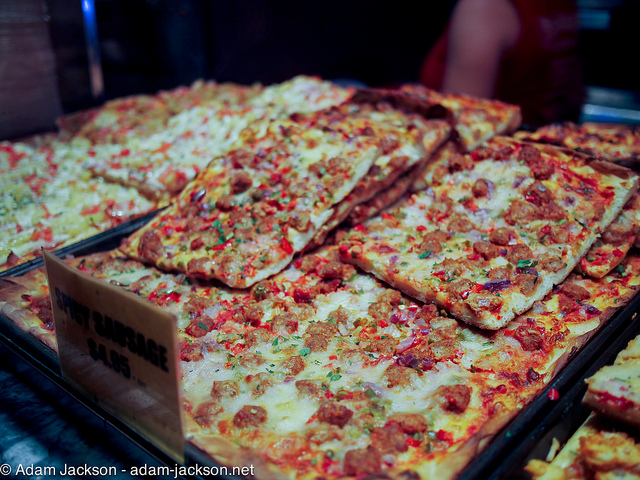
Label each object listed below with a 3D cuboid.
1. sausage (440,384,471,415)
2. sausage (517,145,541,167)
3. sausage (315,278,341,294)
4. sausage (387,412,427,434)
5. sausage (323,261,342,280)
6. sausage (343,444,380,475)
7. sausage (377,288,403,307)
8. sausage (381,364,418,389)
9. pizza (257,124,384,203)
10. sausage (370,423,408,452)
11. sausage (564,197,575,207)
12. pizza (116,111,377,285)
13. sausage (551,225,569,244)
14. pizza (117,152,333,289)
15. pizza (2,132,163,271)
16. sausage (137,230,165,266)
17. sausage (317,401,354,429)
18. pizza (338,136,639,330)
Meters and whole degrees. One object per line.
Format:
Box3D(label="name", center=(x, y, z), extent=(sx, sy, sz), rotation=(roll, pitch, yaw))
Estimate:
Box3D(label="sausage", center=(0.483, 0.576, 1.926), extent=(0.131, 0.050, 0.172), rotation=(-17, -1, 17))
Box3D(label="sausage", center=(1.126, -0.447, 2.775), extent=(0.108, 0.036, 0.106), rotation=(-17, 64, -2))
Box3D(label="sausage", center=(0.046, 0.209, 2.464), extent=(0.079, 0.026, 0.080), rotation=(-14, 28, 12))
Box3D(label="sausage", center=(0.309, 0.629, 1.826), extent=(0.075, 0.024, 0.075), rotation=(5, 15, 15))
Box3D(label="sausage", center=(0.060, 0.143, 2.476), extent=(0.075, 0.032, 0.080), rotation=(23, 73, 17))
Box3D(label="sausage", center=(0.144, 0.706, 1.707), extent=(0.064, 0.029, 0.083), rotation=(6, 21, 15))
Box3D(label="sausage", center=(0.325, 0.257, 2.377), extent=(0.083, 0.024, 0.081), rotation=(1, 36, -7))
Box3D(label="sausage", center=(0.306, 0.519, 1.996), extent=(0.084, 0.025, 0.083), rotation=(15, 37, 17))
Box3D(label="pizza", center=(-0.087, -0.350, 3.006), extent=(0.693, 0.752, 0.115), rotation=(-5, 78, -15))
Box3D(label="sausage", center=(0.239, 0.664, 1.783), extent=(0.128, 0.017, 0.097), rotation=(9, 34, 3))
Box3D(label="sausage", center=(1.249, -0.191, 2.593), extent=(0.044, 0.011, 0.043), rotation=(-6, 67, 5))
Box3D(label="pizza", center=(-0.312, -0.204, 2.754), extent=(1.104, 0.142, 0.911), rotation=(-46, 38, -18))
Box3D(label="sausage", center=(1.153, -0.028, 2.482), extent=(0.064, 0.023, 0.082), rotation=(-2, 54, 1))
Box3D(label="pizza", center=(-0.430, -0.088, 2.679), extent=(0.845, 0.129, 0.827), rotation=(19, 53, 38))
Box3D(label="pizza", center=(-1.508, -0.259, 3.292), extent=(0.936, 0.079, 0.991), rotation=(-22, 36, -35))
Box3D(label="sausage", center=(-0.867, 0.027, 2.676), extent=(0.133, 0.046, 0.171), rotation=(0, 65, 4))
Box3D(label="sausage", center=(0.055, 0.605, 1.831), extent=(0.096, 0.035, 0.072), rotation=(20, 44, 29))
Box3D(label="pizza", center=(0.910, -0.067, 2.561), extent=(0.914, 0.222, 1.243), rotation=(23, 48, 41))
